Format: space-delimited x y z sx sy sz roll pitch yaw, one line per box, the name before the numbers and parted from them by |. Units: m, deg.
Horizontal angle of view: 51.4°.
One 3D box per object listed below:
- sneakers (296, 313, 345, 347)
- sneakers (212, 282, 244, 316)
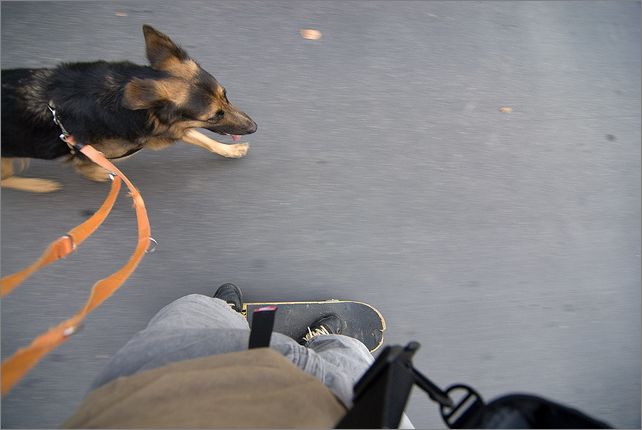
sneakers | -0.113 0.889 5.269 0.194 0.400 0.156 41 50 6
sneakers | -0.705 0.652 5.142 0.185 0.129 0.228 -4 78 -5
